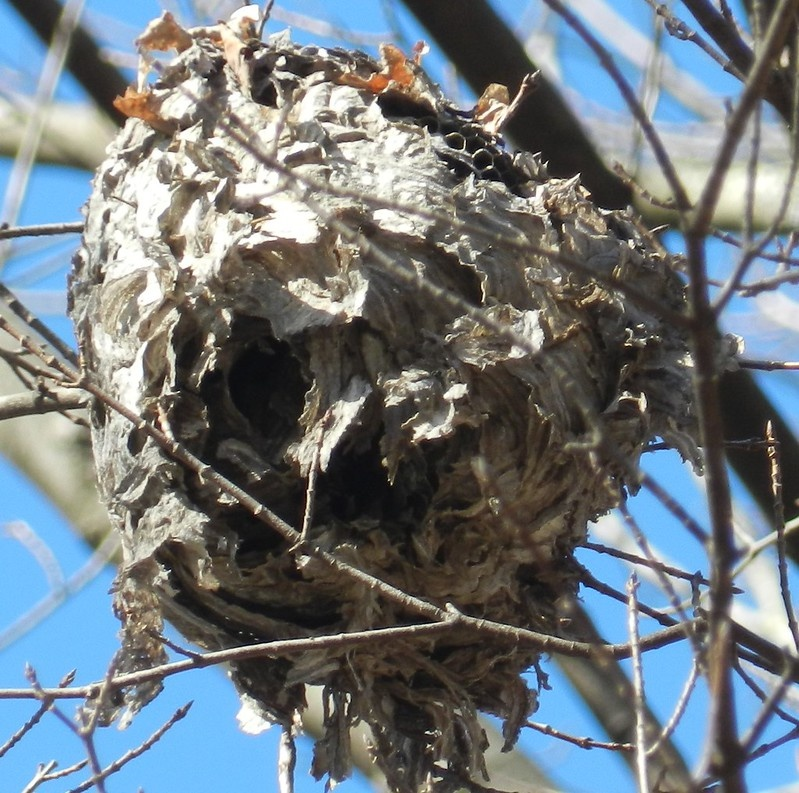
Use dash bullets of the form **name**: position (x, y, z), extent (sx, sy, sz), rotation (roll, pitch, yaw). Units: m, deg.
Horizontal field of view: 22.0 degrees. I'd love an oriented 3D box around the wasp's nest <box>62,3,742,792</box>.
- **wasp's nest**: position (0.112, 0.071, 4.752), extent (1.667, 1.458, 1.800), rotation (0, -95, -19)
